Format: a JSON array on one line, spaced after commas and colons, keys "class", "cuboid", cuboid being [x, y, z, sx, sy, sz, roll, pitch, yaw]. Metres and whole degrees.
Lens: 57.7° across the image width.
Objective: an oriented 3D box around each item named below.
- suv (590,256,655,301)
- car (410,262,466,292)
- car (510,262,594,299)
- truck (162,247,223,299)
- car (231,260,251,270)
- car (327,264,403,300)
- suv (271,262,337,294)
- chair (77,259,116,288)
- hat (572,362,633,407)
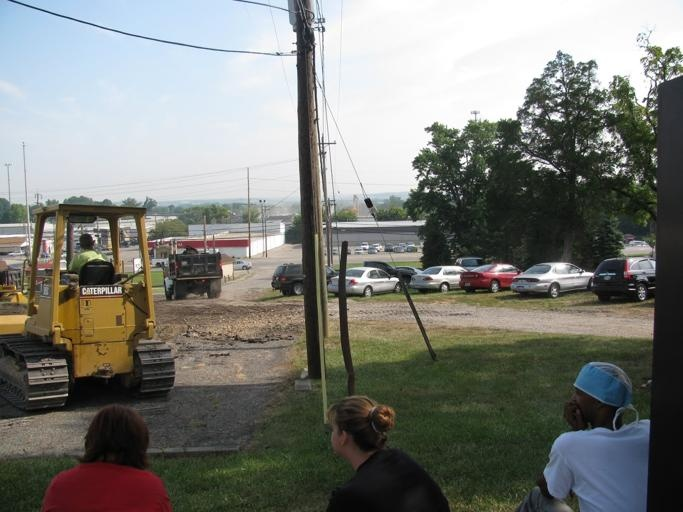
[{"class": "suv", "cuboid": [10.731, 0.906, 23.534, 3.630, 1.511, 1.653, -7, 6, -40]}, {"class": "car", "cuboid": [5.340, 1.140, 33.154, 2.825, 0.916, 1.282, -9, 9, -33]}, {"class": "car", "cuboid": [9.549, 1.024, 28.128, 3.362, 1.288, 1.316, -4, 1, -33]}, {"class": "truck", "cuboid": [-8.005, 0.909, 33.861, 2.002, 1.914, 3.711, 0, 5, -16]}, {"class": "car", "cuboid": [-11.903, 1.042, 74.776, 1.872, 0.825, 1.022, -3, 4, 5]}, {"class": "car", "cuboid": [1.079, 1.281, 31.001, 3.699, 1.215, 1.682, -7, 9, -43]}, {"class": "suv", "cuboid": [-2.068, 1.133, 33.984, 3.437, 1.576, 1.701, -5, 9, -6]}, {"class": "chair", "cuboid": [-4.270, 0.296, 10.875, 0.465, 0.465, 0.432, -1, 7, -20]}, {"class": "hat", "cuboid": [1.975, 0.952, 4.704, 0.297, 0.236, 0.380, 10, 19, -46]}]
